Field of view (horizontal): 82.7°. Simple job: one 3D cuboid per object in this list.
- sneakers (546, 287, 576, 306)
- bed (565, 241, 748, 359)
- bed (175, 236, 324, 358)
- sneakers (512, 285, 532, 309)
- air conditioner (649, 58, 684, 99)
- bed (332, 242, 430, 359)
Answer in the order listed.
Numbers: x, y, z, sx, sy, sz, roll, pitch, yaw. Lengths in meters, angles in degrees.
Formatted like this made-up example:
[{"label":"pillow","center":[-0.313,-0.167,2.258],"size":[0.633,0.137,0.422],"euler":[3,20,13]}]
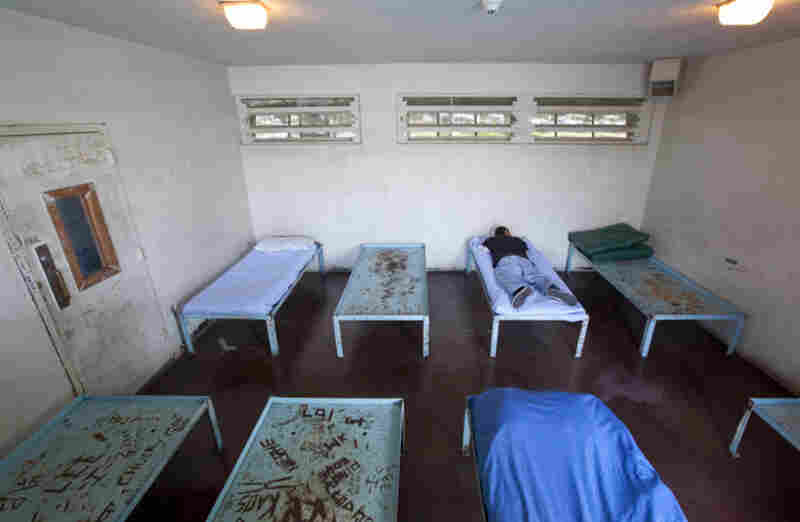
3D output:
[{"label":"sneakers","center":[1.718,0.383,4.848],"size":[0.313,0.143,0.052],"euler":[31,6,10]},{"label":"bed","center":[3.021,0.360,5.151],"size":[0.950,0.445,1.713],"euler":[-4,29,-1]},{"label":"bed","center":[-1.679,0.277,5.318],"size":[1.165,0.751,2.159],"euler":[2,31,4]},{"label":"sneakers","center":[1.285,0.375,4.853],"size":[0.315,0.131,0.131],"euler":[-39,9,-32]},{"label":"air conditioner","center":[3.207,-2.206,5.450],"size":[0.336,0.453,0.237],"euler":[14,51,27]},{"label":"bed","center":[-0.156,0.301,5.342],"size":[1.041,0.526,2.283],"euler":[-2,33,2]}]
